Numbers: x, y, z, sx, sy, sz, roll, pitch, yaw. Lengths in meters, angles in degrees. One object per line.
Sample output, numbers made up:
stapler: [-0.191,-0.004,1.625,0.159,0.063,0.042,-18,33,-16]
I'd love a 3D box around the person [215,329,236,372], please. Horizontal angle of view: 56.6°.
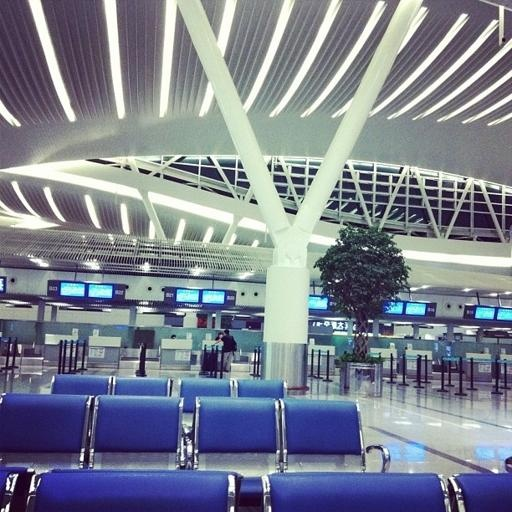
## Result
person: [-1.059,3.271,16.524,0.667,1.490,1.644,3,-10,-5]

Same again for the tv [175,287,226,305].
tv: [-2.827,2.028,24.204,2.517,0.753,0.549,2,-10,0]
